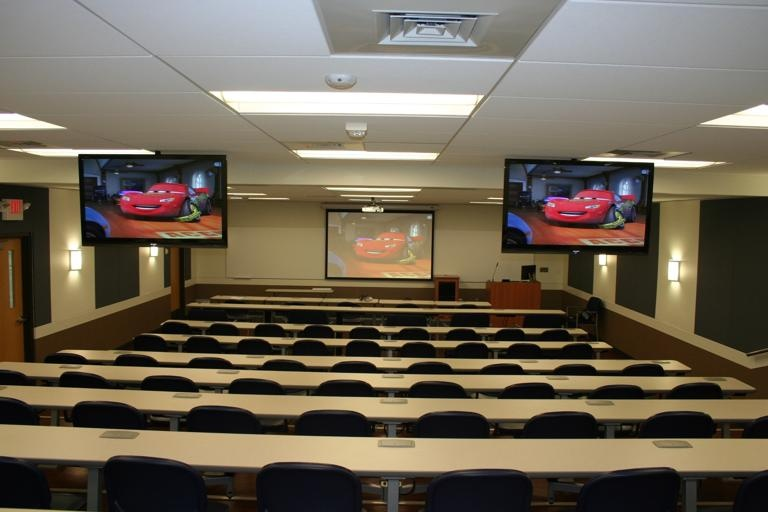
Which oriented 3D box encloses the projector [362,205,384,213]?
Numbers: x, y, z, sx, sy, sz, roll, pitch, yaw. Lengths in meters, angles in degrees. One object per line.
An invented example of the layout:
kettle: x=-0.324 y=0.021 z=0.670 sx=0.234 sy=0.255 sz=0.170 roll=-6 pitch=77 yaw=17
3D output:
projector: x=-0.208 y=-0.897 z=11.479 sx=0.384 sy=0.138 sz=0.480 roll=0 pitch=-2 yaw=8

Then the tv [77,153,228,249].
tv: x=-2.615 y=-0.655 z=6.984 sx=1.388 sy=0.665 sz=0.049 roll=0 pitch=1 yaw=-3

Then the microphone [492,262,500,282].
microphone: x=2.866 y=0.362 z=15.828 sx=0.233 sy=0.389 sz=0.106 roll=2 pitch=1 yaw=-1

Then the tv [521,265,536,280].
tv: x=3.552 y=0.396 z=15.118 sx=0.464 sy=0.356 sz=0.147 roll=0 pitch=-5 yaw=-6

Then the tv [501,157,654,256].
tv: x=2.159 y=-0.560 z=6.865 sx=1.384 sy=0.684 sz=0.026 roll=1 pitch=1 yaw=1
